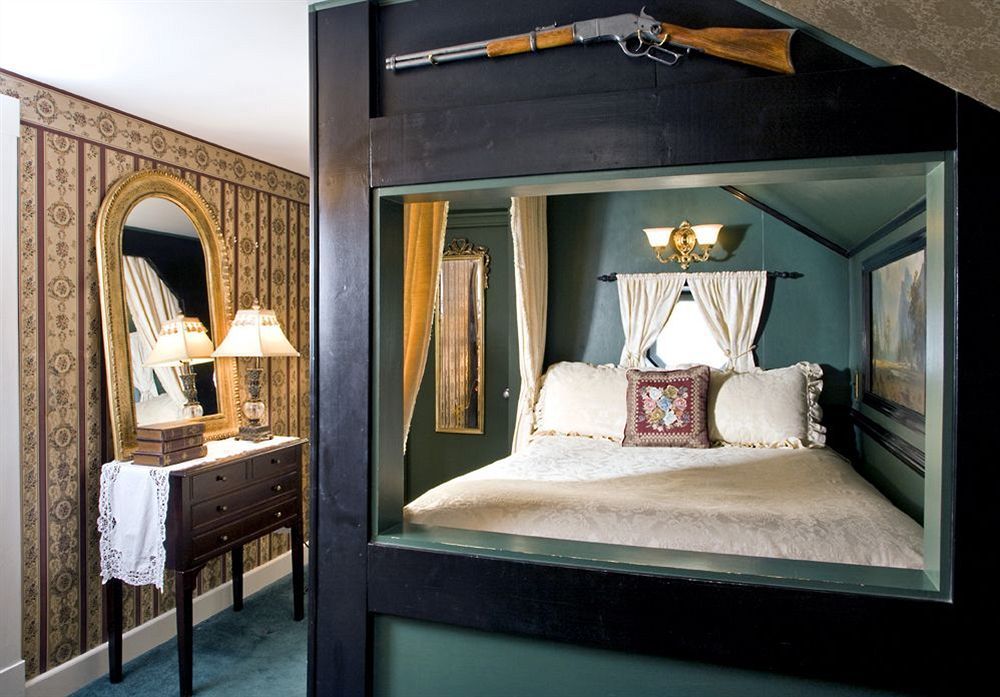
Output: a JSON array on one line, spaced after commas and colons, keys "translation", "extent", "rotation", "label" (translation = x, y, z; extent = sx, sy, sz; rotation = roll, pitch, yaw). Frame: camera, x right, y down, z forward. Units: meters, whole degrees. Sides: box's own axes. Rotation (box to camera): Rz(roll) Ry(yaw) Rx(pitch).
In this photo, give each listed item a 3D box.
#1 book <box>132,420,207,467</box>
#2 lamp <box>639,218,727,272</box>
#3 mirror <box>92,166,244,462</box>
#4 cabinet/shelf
[{"translation": [-1.724, 0.453, 3.712], "extent": [0.211, 0.177, 0.285], "rotation": [-1, -1, 26], "label": "book"}, {"translation": [1.245, -0.689, 4.767], "extent": [0.350, 0.236, 0.110], "rotation": [-2, -7, 26], "label": "lamp"}, {"translation": [-1.906, -0.247, 4.034], "extent": [0.256, 1.460, 0.998], "rotation": [-1, 14, 11], "label": "mirror"}, {"translation": [-1.607, 1.143, 3.799], "extent": [0.521, 1.169, 1.316], "rotation": [0, 2, 14], "label": "cabinet/shelf"}]
